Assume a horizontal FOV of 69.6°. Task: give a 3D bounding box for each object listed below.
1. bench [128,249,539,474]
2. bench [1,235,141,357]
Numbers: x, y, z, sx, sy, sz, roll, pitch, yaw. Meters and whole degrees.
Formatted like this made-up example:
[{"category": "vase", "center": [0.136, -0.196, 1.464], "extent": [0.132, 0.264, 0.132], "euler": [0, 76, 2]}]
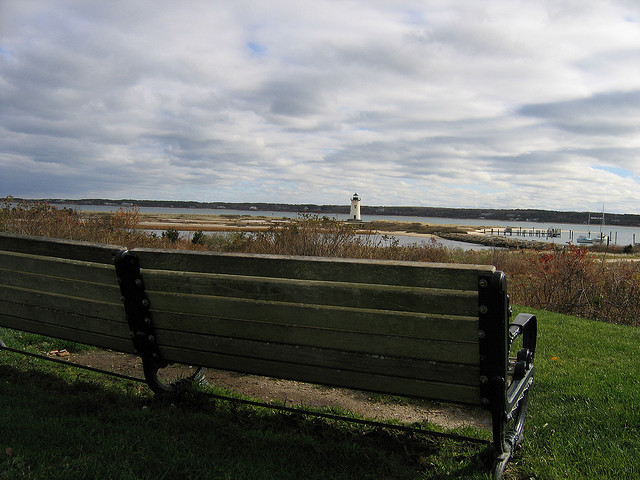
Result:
[{"category": "bench", "center": [-0.055, 0.814, 3.437], "extent": [2.820, 1.474, 0.500], "euler": [4, 3, 17]}, {"category": "bench", "center": [-2.265, 0.470, 4.066], "extent": [1.713, 0.968, 0.369], "euler": [5, 3, 25]}]
